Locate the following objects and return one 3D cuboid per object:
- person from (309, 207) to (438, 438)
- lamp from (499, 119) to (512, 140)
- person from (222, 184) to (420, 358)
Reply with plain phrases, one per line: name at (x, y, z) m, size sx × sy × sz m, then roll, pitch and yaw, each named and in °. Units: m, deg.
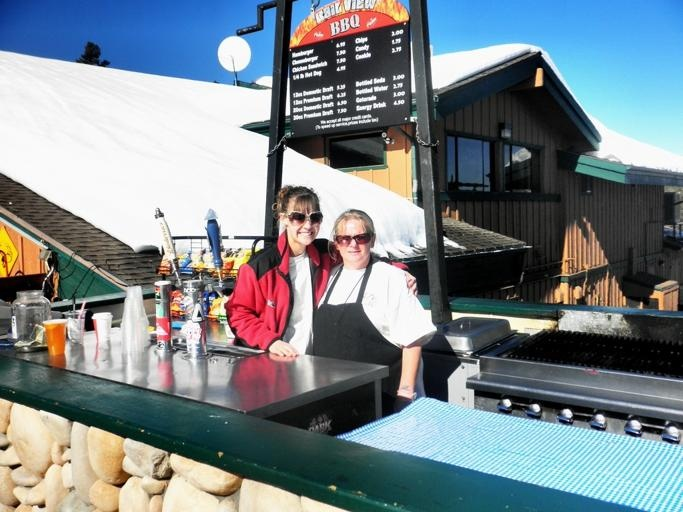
person at (0.160, 0.693, 3.982) m, size 0.991 × 1.980 × 0.673 m, roll 2°, pitch 10°, yaw 28°
lamp at (3.343, -2.592, 11.622) m, size 0.132 × 0.448 × 0.412 m, roll 3°, pitch 6°, yaw 41°
person at (-0.254, 0.112, 3.968) m, size 1.172 × 1.224 × 0.738 m, roll -5°, pitch 8°, yaw -37°
